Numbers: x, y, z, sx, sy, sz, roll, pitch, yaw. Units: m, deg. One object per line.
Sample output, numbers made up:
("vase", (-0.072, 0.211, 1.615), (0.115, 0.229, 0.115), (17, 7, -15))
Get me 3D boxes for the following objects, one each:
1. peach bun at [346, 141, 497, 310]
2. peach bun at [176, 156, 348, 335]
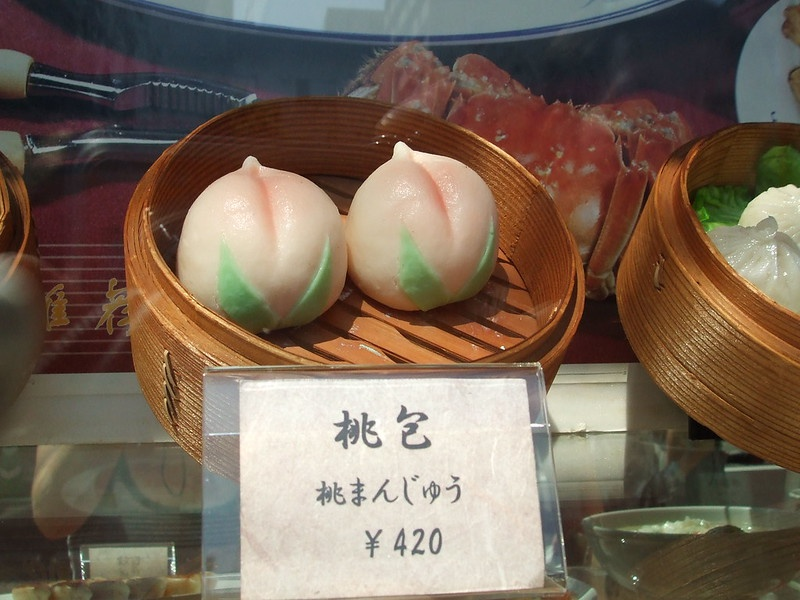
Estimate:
("peach bun", (0.030, -0.097, 0.993), (0.210, 0.231, 0.107), (3, 12, 8))
("peach bun", (-0.194, -0.079, 0.986), (0.208, 0.158, 0.257), (-19, 56, -15))
